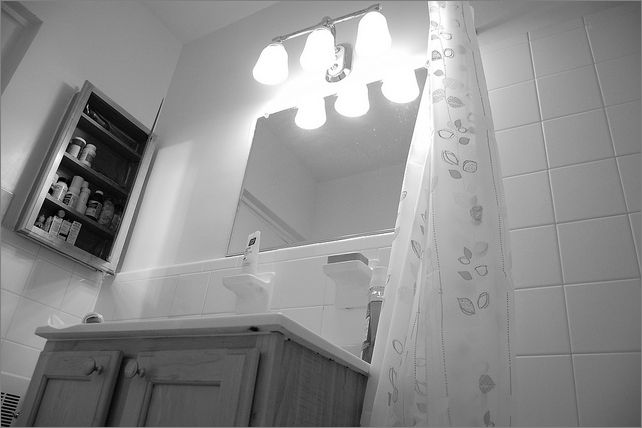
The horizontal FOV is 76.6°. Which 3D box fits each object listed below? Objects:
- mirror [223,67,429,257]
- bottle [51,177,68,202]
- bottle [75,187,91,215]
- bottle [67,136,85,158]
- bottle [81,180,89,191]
[{"bbox_3d":[0.042,-0.224,1.907,1.074,0.749,0.014,-3,-19,25],"label":"mirror"},{"bbox_3d":[-1.338,-0.132,2.089,0.067,0.140,0.042,22,-32,-30],"label":"bottle"},{"bbox_3d":[-1.261,-0.064,2.176,0.044,0.162,0.066,-1,-28,11],"label":"bottle"},{"bbox_3d":[-1.315,-0.352,2.181,0.057,0.136,0.057,4,-27,2],"label":"bottle"},{"bbox_3d":[-1.272,-0.153,2.197,0.039,0.040,0.038,-19,-19,33],"label":"bottle"}]
